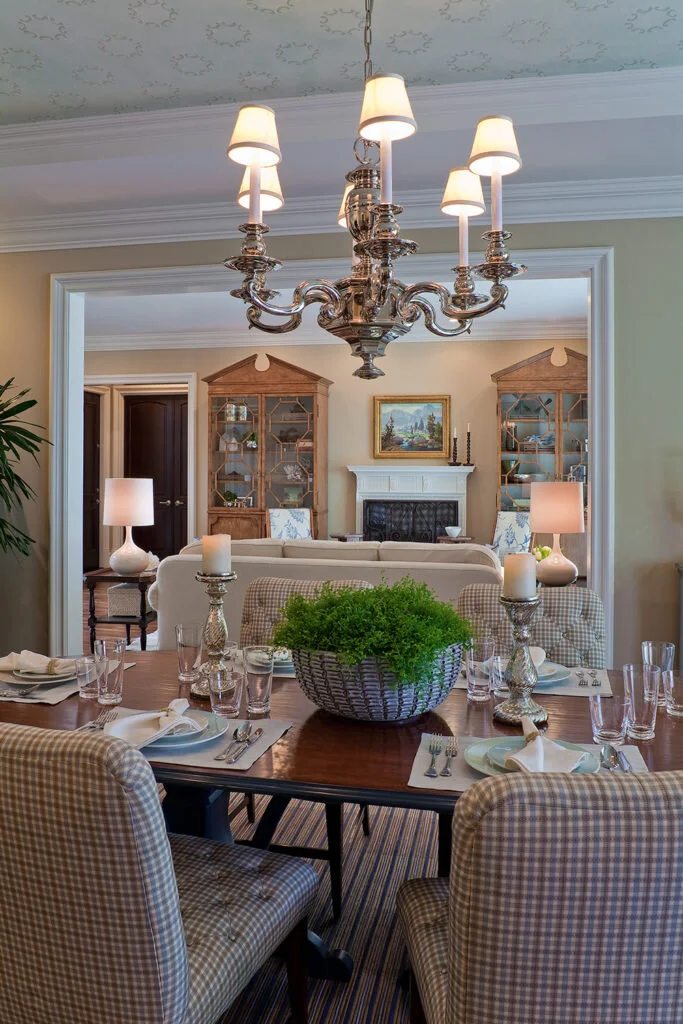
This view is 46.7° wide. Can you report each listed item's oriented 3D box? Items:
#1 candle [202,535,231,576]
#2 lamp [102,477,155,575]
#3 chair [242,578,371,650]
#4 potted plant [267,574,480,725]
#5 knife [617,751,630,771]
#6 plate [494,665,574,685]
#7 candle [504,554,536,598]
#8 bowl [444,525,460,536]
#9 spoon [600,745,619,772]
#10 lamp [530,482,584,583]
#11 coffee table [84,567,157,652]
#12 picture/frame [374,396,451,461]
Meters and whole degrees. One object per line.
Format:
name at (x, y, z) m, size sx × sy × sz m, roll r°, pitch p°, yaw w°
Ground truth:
candle at (-0.272, 0.099, 1.726) m, size 0.057 × 0.089 × 0.067 m, roll -1°, pitch -3°, yaw -4°
lamp at (-1.263, 0.093, 4.698) m, size 0.272 × 0.568 × 0.510 m, roll 0°, pitch -3°, yaw -16°
chair at (-0.144, 0.271, 2.345) m, size 0.371 × 0.249 × 0.261 m, roll 1°, pitch 2°, yaw 11°
potted plant at (0.062, 0.277, 1.487) m, size 0.371 × 0.275 × 0.249 m, roll -1°, pitch -3°, yaw -6°
knife at (0.443, 0.395, 1.250) m, size 0.014 × 0.012 × 0.047 m, roll 3°, pitch -3°, yaw 6°
plate at (0.406, 0.354, 1.693) m, size 0.089 × 0.012 × 0.087 m, roll -11°, pitch 11°, yaw -36°
candle at (0.342, 0.129, 1.543) m, size 0.061 × 0.089 × 0.077 m, roll -1°, pitch -3°, yaw 3°
bowl at (0.978, 0.174, 7.038) m, size 0.099 × 0.068 × 0.099 m, roll -1°, pitch -2°, yaw 0°
spoon at (0.421, 0.393, 1.248) m, size 0.018 × 0.008 × 0.071 m, roll -3°, pitch 3°, yaw 18°
lamp at (1.043, 0.115, 3.843) m, size 0.231 × 0.505 × 0.371 m, roll -2°, pitch -3°, yaw 15°
coffee table at (-1.342, 0.612, 4.834) m, size 0.383 × 0.459 × 0.696 m, roll 0°, pitch 1°, yaw -3°
picture/frame at (0.738, -0.849, 7.956) m, size 0.678 × 0.557 × 0.047 m, roll 0°, pitch 1°, yaw 12°
